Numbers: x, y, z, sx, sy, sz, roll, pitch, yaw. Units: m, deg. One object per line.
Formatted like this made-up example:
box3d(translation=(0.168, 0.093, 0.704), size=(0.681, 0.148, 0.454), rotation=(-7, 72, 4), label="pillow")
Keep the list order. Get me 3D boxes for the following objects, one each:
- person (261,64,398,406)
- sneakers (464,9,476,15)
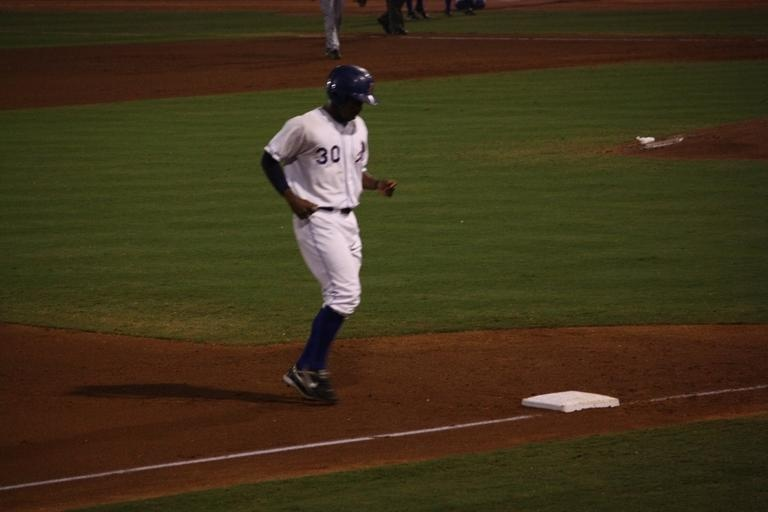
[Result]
box3d(translation=(-0.647, -0.216, 11.945), size=(1.049, 3.323, 0.959), rotation=(1, 17, 1), label="person")
box3d(translation=(2.092, -5.990, 29.431), size=(0.219, 0.072, 0.232), rotation=(6, -12, -23), label="sneakers")
